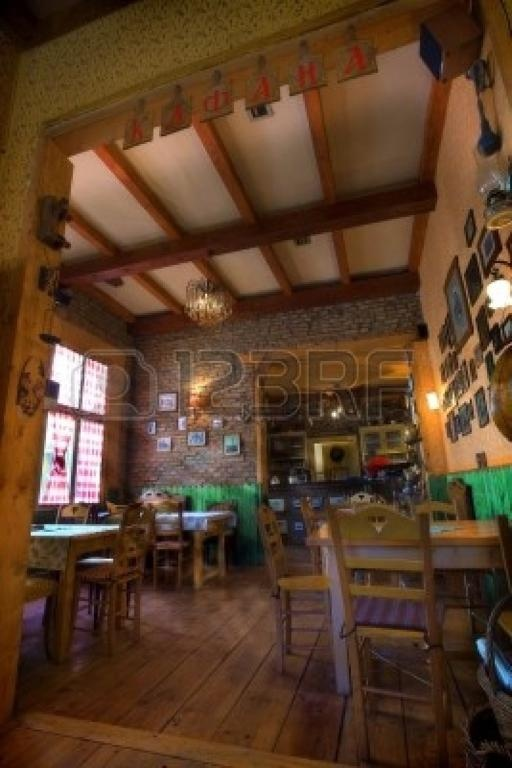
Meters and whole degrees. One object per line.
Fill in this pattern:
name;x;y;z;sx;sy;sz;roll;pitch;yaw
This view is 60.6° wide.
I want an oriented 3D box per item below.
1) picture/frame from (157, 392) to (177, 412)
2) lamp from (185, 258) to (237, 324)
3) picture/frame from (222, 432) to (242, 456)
picture/frame;-1.572;0.330;7.826;0.295;0.321;0.036;-2;-8;14
lamp;-0.590;-1.193;6.074;0.616;0.931;0.657;-3;-4;30
picture/frame;-0.397;1.030;7.383;0.338;0.434;0.056;-2;-18;9
